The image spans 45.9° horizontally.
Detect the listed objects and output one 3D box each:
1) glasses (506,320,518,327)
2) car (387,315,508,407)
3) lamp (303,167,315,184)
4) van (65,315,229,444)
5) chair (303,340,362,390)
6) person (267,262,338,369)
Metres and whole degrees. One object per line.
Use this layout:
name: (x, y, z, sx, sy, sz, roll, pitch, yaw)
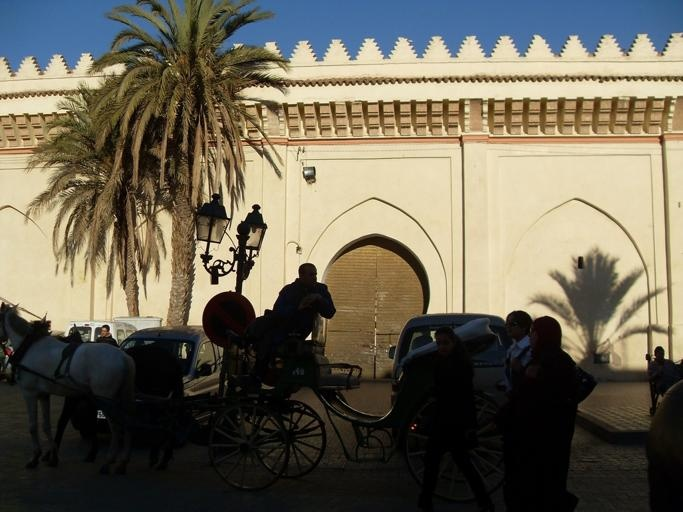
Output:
glasses: (2.763, 1.093, 13.014, 0.091, 0.087, 0.129, 0, -9, -2)
car: (2.001, 1.557, 14.491, 2.070, 1.562, 1.688, -1, 0, 1)
lamp: (-0.975, -2.517, 25.091, 0.419, 0.544, 0.388, 1, 8, -3)
van: (-3.113, 2.116, 14.994, 1.747, 1.723, 3.011, -1, -18, 9)
chair: (-0.093, 1.860, 12.949, 0.708, 0.628, 0.634, -6, -9, 23)
person: (-0.622, 0.799, 12.831, 1.030, 1.302, 0.637, 0, 8, -11)
